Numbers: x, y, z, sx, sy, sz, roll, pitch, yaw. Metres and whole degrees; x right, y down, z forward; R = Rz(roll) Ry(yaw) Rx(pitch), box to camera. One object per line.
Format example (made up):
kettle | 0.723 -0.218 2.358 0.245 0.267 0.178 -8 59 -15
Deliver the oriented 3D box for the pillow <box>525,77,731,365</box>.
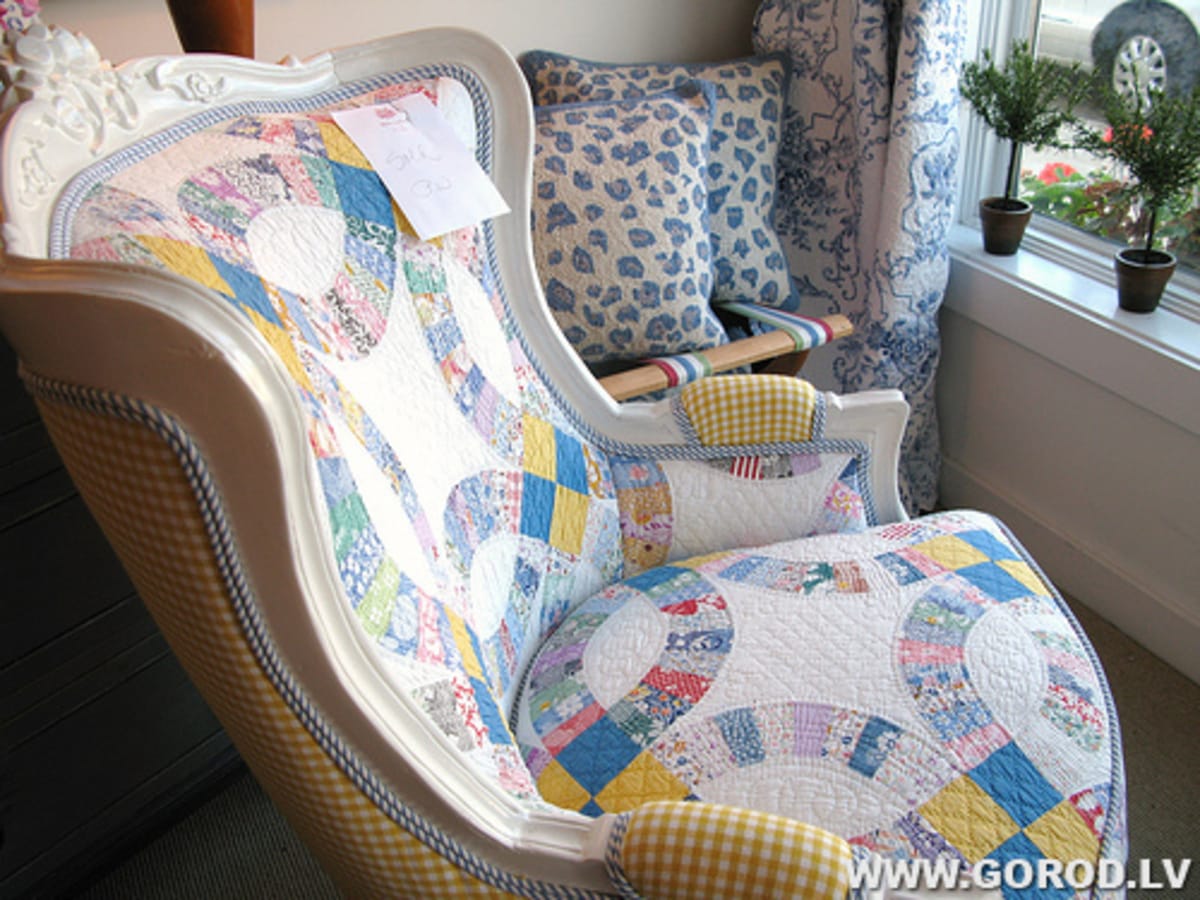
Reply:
pillow | 0.049 -0.437 1.785 0.414 0.507 0.208 -2 2 -20
